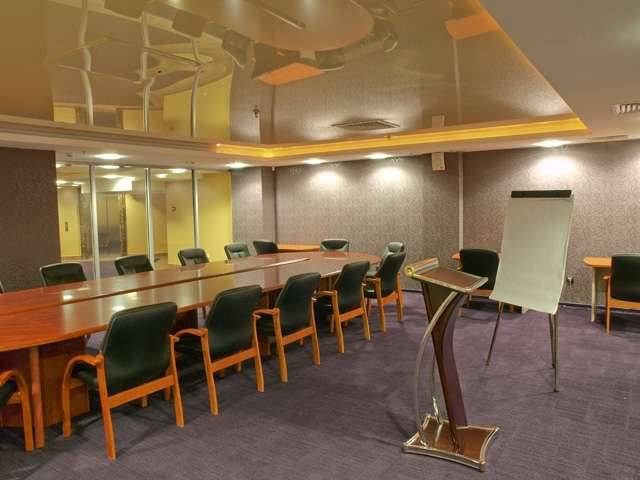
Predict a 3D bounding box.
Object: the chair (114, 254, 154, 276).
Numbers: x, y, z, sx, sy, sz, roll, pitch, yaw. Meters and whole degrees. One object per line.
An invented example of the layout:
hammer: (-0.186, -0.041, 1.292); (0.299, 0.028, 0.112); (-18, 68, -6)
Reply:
chair: (-2.831, 0.375, 6.572); (0.365, 0.440, 0.446); (-6, -8, -44)

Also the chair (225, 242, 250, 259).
chair: (-1.599, 0.202, 8.301); (0.341, 0.410, 0.406); (-5, 5, -44)

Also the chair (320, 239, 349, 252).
chair: (0.304, 0.109, 8.795); (0.343, 0.375, 0.352); (-1, -5, 13)

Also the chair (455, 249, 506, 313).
chair: (2.920, 0.567, 7.410); (1.059, 0.987, 1.081); (6, 14, 30)

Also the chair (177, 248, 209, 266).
chair: (-2.204, 0.289, 7.507); (0.370, 0.407, 0.408); (-6, 2, -44)

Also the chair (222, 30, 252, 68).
chair: (-1.092, -2.585, 5.762); (0.298, 0.692, 0.407); (8, -38, -28)

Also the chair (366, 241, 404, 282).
chair: (1.233, 0.333, 7.476); (0.721, 0.703, 0.596); (4, 4, 11)

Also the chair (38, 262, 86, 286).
chair: (-3.429, 0.441, 5.834); (0.395, 0.452, 0.457); (-7, 4, -42)

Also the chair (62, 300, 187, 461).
chair: (-1.748, 1.151, 3.892); (0.941, 1.013, 0.924); (-2, -1, 19)

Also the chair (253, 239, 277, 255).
chair: (-1.141, 0.133, 9.006); (0.418, 0.379, 0.341); (-1, 5, -14)
